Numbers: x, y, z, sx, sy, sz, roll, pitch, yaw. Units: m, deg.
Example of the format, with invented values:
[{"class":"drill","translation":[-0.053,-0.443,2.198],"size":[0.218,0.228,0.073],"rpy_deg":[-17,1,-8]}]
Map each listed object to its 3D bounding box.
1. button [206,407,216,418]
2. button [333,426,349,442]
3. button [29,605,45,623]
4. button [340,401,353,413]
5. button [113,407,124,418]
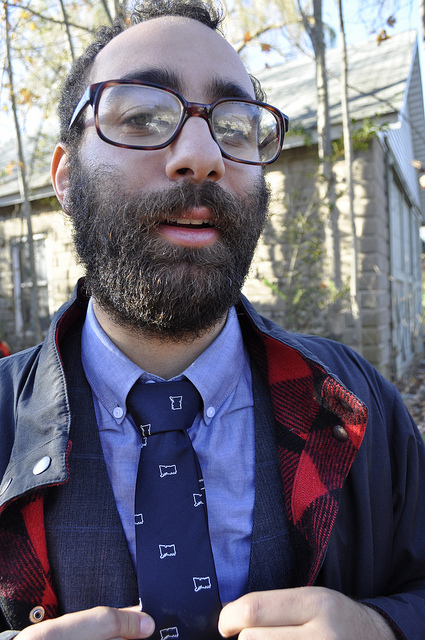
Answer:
[{"class":"button","translation":[-0.006,0.258,1.832],"size":[0.026,0.025,0.006],"rpy_deg":[17,-15,-28]},{"class":"button","translation":[0.349,0.315,1.801],"size":[0.038,0.034,0.037],"rpy_deg":[0,-6,0]},{"class":"button","translation":[-0.418,0.699,1.560],"size":[0.034,0.035,0.013],"rpy_deg":[-5,5,-33]},{"class":"button","translation":[0.357,0.233,1.753],"size":[0.009,0.025,0.048],"rpy_deg":[-5,5,-25]},{"class":"button","translation":[-0.255,0.252,1.773],"size":[0.024,0.023,0.009],"rpy_deg":[-10,-12,19]}]
